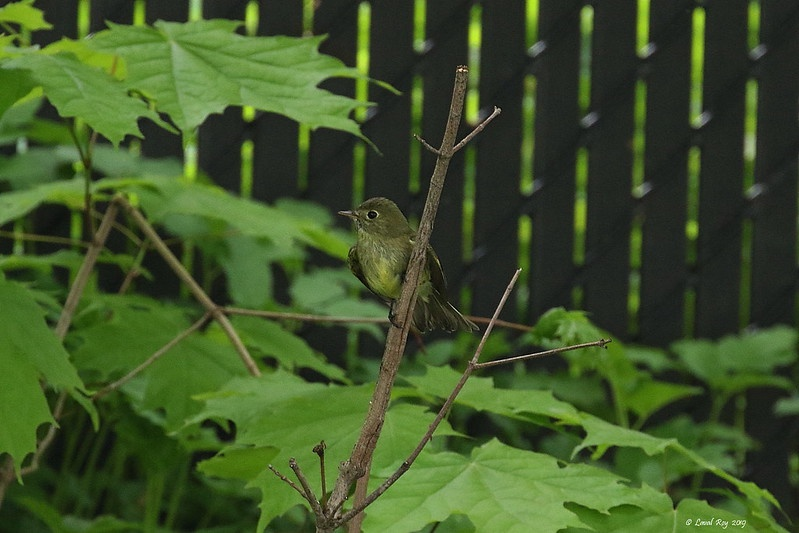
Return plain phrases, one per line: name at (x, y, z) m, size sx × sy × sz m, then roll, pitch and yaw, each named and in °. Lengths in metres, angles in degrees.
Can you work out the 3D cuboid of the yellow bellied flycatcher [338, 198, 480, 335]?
yellow bellied flycatcher at (0.033, -0.001, 6.549) m, size 0.474 × 0.672 × 0.889 m, roll -13°, pitch -13°, yaw 31°
